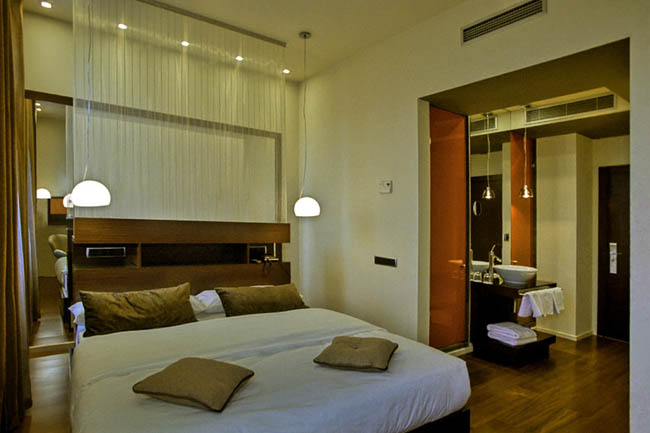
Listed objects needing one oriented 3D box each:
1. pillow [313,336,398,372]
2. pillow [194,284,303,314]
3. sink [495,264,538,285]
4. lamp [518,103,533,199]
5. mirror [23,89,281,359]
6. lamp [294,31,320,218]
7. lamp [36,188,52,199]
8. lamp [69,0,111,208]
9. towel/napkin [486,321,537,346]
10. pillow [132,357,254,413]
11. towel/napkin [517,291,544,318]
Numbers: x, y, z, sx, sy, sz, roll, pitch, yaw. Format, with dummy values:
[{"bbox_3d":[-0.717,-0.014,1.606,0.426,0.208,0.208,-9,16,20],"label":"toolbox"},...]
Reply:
[{"bbox_3d":[0.281,1.243,4.555,0.734,0.210,0.417,0,0,10],"label":"pillow"},{"bbox_3d":[-0.848,0.937,5.576,0.661,0.200,0.513,3,-4,-23],"label":"pillow"},{"bbox_3d":[2.479,0.768,6.519,0.486,0.200,0.514,0,0,13],"label":"sink"},{"bbox_3d":[2.950,-0.900,7.286,0.159,1.285,0.622,0,0,24],"label":"lamp"},{"bbox_3d":[-2.082,0.089,5.606,3.167,2.907,1.002,0,-2,-27],"label":"mirror"},{"bbox_3d":[-0.234,-1.104,6.937,0.368,2.250,1.185,0,0,-2],"label":"lamp"},{"bbox_3d":[-3.310,-0.266,5.857,0.148,0.134,0.039,0,0,-16],"label":"lamp"},{"bbox_3d":[-2.557,-1.212,5.410,0.431,2.235,0.242,0,0,-25],"label":"lamp"},{"bbox_3d":[2.266,1.449,6.186,0.328,0.117,0.316,2,-2,-43],"label":"towel/napkin"},{"bbox_3d":[-1.080,1.379,4.149,0.868,0.325,0.414,0,0,8],"label":"pillow"},{"bbox_3d":[2.522,1.072,6.085,0.242,0.298,0.267,0,0,31],"label":"towel/napkin"}]
